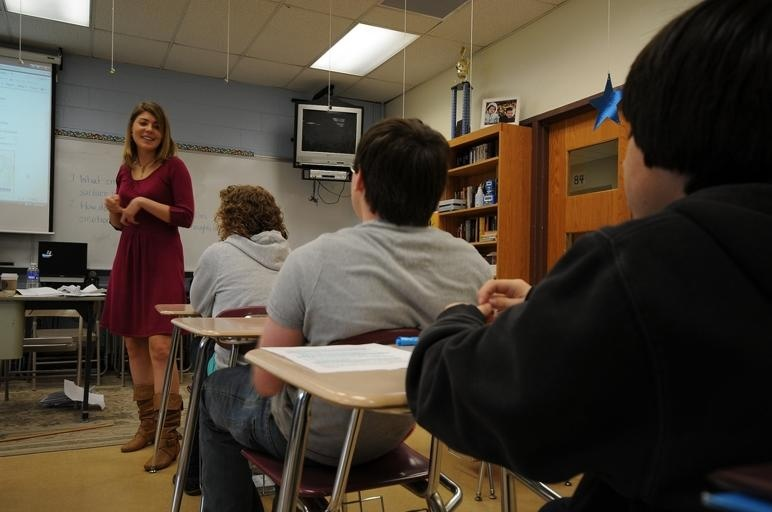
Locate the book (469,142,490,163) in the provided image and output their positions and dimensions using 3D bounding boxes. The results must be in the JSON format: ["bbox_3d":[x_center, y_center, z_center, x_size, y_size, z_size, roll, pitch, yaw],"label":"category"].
[{"bbox_3d":[0.868,-0.957,4.848,0.096,0.193,0.192,7,-9,-21],"label":"book"}]

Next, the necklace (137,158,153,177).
[{"bbox_3d":[-1.355,-0.489,2.920,0.067,0.077,0.090,2,15,-41],"label":"necklace"}]

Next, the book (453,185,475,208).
[{"bbox_3d":[0.758,-0.572,5.082,0.131,0.245,0.244,6,-8,-13],"label":"book"}]

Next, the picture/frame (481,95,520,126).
[{"bbox_3d":[1.034,-1.302,4.696,0.325,0.294,0.025,7,-10,32],"label":"picture/frame"}]
